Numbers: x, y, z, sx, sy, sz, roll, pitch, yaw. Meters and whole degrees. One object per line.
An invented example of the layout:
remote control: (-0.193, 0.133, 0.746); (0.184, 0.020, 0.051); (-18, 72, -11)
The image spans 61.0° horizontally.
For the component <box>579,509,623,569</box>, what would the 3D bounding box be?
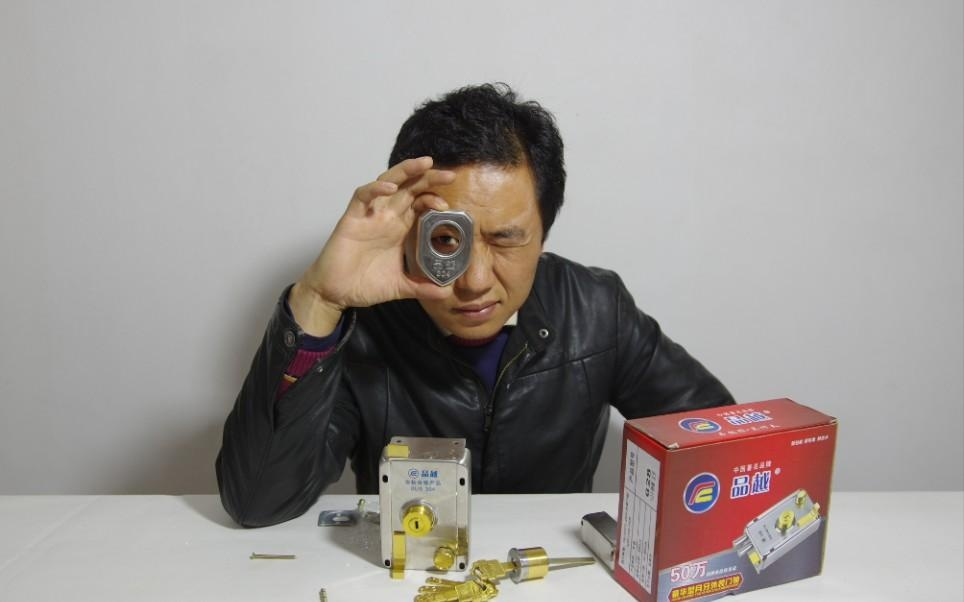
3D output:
component: (0.371, 0.688, 2.359); (0.096, 0.090, 0.171); (-4, 14, -22)

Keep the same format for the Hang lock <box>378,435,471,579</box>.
Hang lock: (-0.157, 0.582, 2.362); (0.256, 0.380, 0.219); (2, 15, 10)

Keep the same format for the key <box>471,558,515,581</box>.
key: (0.022, 0.739, 2.281); (0.098, 0.024, 0.056); (-5, 28, -25)

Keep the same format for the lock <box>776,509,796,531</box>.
lock: (0.855, 0.610, 2.301); (0.040, 0.059, 0.015); (27, -6, 7)

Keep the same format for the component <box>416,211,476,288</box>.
component: (-0.105, -0.167, 2.496); (0.215, 0.304, 0.047); (2, 22, 2)

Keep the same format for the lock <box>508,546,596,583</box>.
lock: (0.200, 0.723, 2.308); (0.221, 0.090, 0.091); (-5, 46, -28)
